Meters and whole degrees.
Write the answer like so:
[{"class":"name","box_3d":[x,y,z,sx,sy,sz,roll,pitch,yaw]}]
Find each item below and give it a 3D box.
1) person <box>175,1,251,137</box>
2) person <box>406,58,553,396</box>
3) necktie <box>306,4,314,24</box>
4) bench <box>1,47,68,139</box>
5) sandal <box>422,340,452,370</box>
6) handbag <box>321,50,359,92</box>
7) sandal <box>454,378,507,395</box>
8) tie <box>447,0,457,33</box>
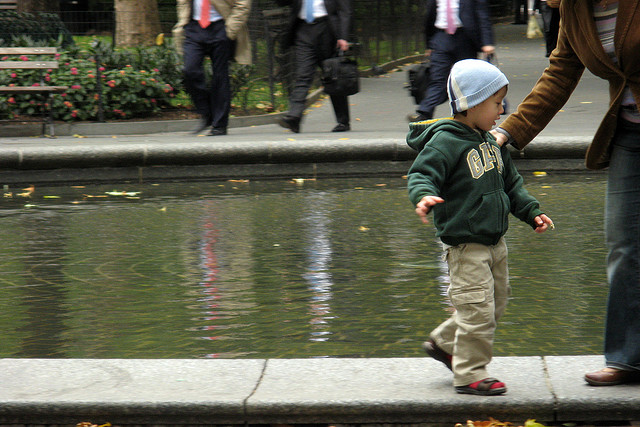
[{"class":"person","box_3d":[-1.297,-1.863,12.642,0.994,1.719,0.462,-4,20,5]},{"class":"person","box_3d":[0.811,0.062,5.434,0.569,1.817,0.848,-4,18,8]},{"class":"necktie","box_3d":[-0.121,-2.550,12.481,0.112,0.232,0.046,-3,20,9]},{"class":"bench","box_3d":[-4.017,-1.711,13.594,0.973,1.174,2.012,-9,14,-12]},{"class":"sandal","box_3d":[0.687,0.799,5.559,0.106,0.176,0.198,-20,22,-38]},{"class":"handbag","box_3d":[0.269,-1.827,12.584,0.515,0.550,0.304,-9,18,-13]},{"class":"sandal","box_3d":[0.893,0.947,5.345,0.234,0.036,0.105,-1,0,17]},{"class":"tie","box_3d":[1.590,-2.360,11.755,0.111,0.375,0.070,1,21,21]}]
